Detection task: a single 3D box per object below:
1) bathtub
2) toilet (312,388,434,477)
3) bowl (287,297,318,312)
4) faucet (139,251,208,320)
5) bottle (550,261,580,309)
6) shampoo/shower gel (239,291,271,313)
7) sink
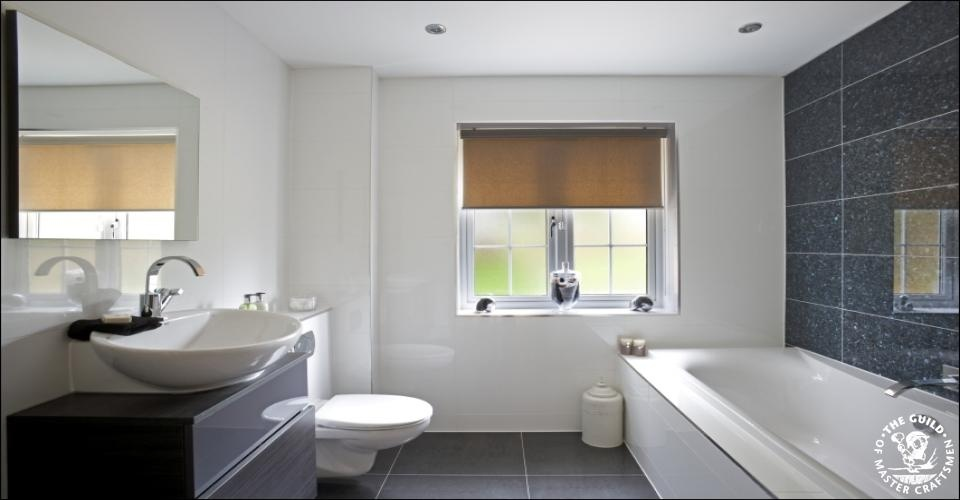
[{"bbox_3d":[1.511,0.858,2.903,0.898,0.442,1.152,-2,2,-6],"label":"bathtub"},{"bbox_3d":[-0.533,0.949,3.055,0.658,0.303,0.388,0,3,-4],"label":"toilet"},{"bbox_3d":[-1.018,0.294,3.369,0.155,0.077,0.098,0,2,2],"label":"bowl"},{"bbox_3d":[-1.514,0.181,2.901,0.310,0.276,0.241,-3,-3,7],"label":"faucet"},{"bbox_3d":[0.505,0.220,3.443,0.203,0.265,0.170,-2,0,-8],"label":"bottle"},{"bbox_3d":[-1.273,0.299,3.289,0.158,0.126,0.086,-2,3,-39],"label":"shampoo/shower gel"},{"bbox_3d":[-1.314,0.503,2.811,0.897,0.243,0.883,1,4,15],"label":"sink"}]
